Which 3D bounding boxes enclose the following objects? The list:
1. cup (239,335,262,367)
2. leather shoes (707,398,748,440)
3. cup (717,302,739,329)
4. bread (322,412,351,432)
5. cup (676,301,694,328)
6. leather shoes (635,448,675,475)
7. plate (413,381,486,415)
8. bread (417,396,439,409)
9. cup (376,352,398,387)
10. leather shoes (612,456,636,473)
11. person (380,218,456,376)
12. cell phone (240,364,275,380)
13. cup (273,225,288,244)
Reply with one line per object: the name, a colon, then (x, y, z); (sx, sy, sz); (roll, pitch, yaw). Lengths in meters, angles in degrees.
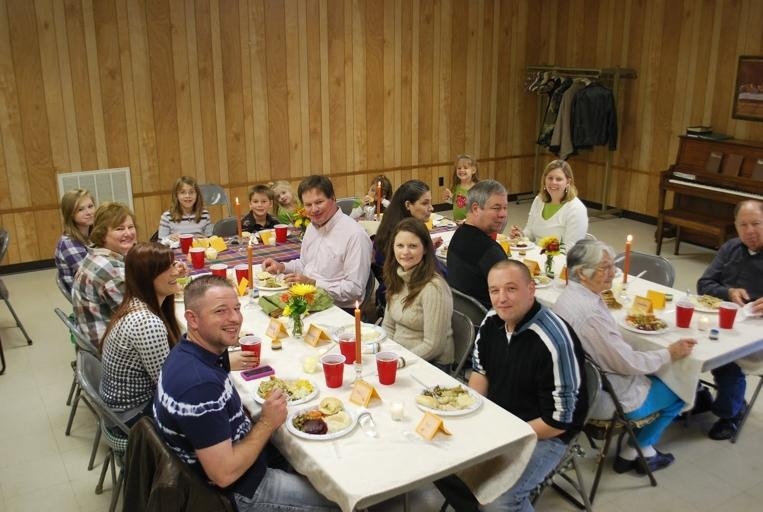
cup: (-0.767, 0.548, 3.109); (0.130, 0.153, 0.137); (-7, 15, 2)
leather shoes: (2.591, 1.272, 4.003); (0.426, 0.200, 0.158); (-25, 38, -31)
cup: (2.290, 0.416, 3.600); (0.138, 0.167, 0.153); (2, 5, -10)
bread: (-0.220, 0.840, 2.636); (0.081, 0.030, 0.084); (-5, 34, -20)
cup: (2.010, 0.410, 3.612); (0.129, 0.160, 0.144); (1, 5, 6)
leather shoes: (1.836, 1.420, 3.595); (0.280, 0.134, 0.121); (-15, 20, -26)
plate: (0.357, 0.759, 2.765); (0.352, 0.073, 0.224); (-2, 19, 4)
bread: (0.225, 0.757, 2.722); (0.087, 0.042, 0.051); (18, 51, 22)
cup: (0.029, 0.630, 2.948); (0.135, 0.125, 0.145); (-1, 11, 0)
leather shoes: (1.641, 1.433, 3.616); (0.191, 0.092, 0.070); (-15, 19, -37)
person: (0.244, 0.268, 3.526); (0.350, 1.012, 0.505); (-14, 21, -31)
cell phone: (-0.698, 0.645, 2.989); (0.134, 0.026, 0.078); (-16, 28, -36)
cup: (-0.988, -0.200, 5.195); (0.144, 0.161, 0.154); (-2, 3, 0)
